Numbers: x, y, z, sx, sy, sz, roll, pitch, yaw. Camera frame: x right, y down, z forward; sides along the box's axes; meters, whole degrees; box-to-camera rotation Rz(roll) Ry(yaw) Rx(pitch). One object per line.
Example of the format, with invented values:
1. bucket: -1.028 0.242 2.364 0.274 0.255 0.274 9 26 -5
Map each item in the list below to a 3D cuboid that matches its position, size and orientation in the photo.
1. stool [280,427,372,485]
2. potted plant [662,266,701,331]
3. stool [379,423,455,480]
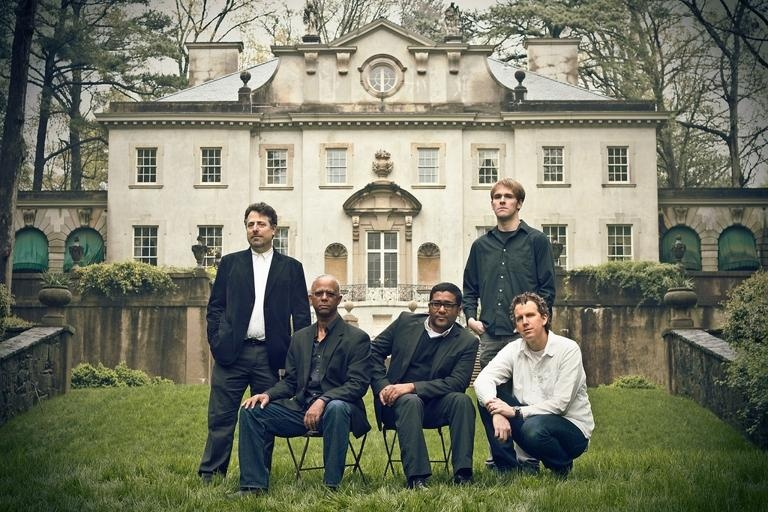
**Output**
1. stool: -1.224 4.519 25.235 1.473 1.244 1.330 -9 -19 36
2. potted plant: 9.169 1.250 34.605 0.945 1.967 0.967 9 -13 -42
3. stool: 0.750 4.357 25.054 1.402 1.478 1.172 -3 6 5
